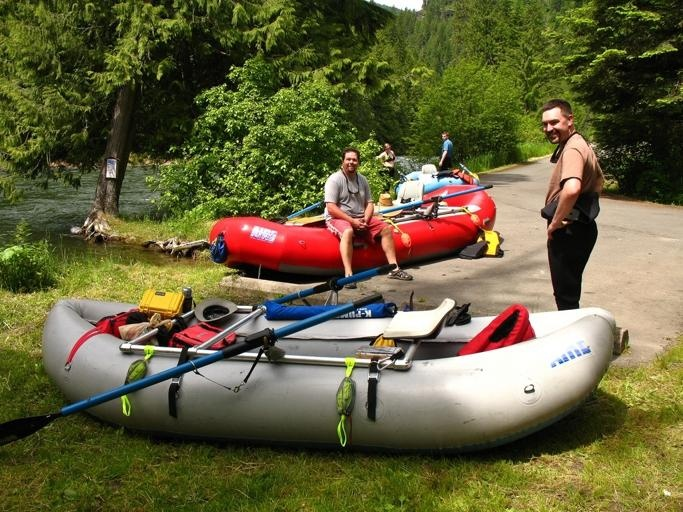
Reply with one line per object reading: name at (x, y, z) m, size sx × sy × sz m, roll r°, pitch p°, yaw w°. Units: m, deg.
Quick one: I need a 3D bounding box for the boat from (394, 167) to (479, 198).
boat at (2.297, -1.798, 15.312) m, size 1.506 × 0.593 × 1.191 m, roll -1°, pitch 8°, yaw -2°

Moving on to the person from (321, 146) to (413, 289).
person at (0.304, -0.574, 9.575) m, size 1.055 × 1.923 × 0.663 m, roll -3°, pitch 10°, yaw -28°

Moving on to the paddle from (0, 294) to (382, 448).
paddle at (-1.326, 1.107, 6.210) m, size 2.680 × 0.412 × 0.201 m, roll -24°, pitch 26°, yaw -11°

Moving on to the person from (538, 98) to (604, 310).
person at (2.184, -0.473, 6.398) m, size 0.589 × 2.044 × 0.607 m, roll 5°, pitch 9°, yaw 21°

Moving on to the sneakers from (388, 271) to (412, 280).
sneakers at (0.881, 0.273, 9.717) m, size 0.299 × 0.139 × 0.136 m, roll 1°, pitch 6°, yaw 17°
